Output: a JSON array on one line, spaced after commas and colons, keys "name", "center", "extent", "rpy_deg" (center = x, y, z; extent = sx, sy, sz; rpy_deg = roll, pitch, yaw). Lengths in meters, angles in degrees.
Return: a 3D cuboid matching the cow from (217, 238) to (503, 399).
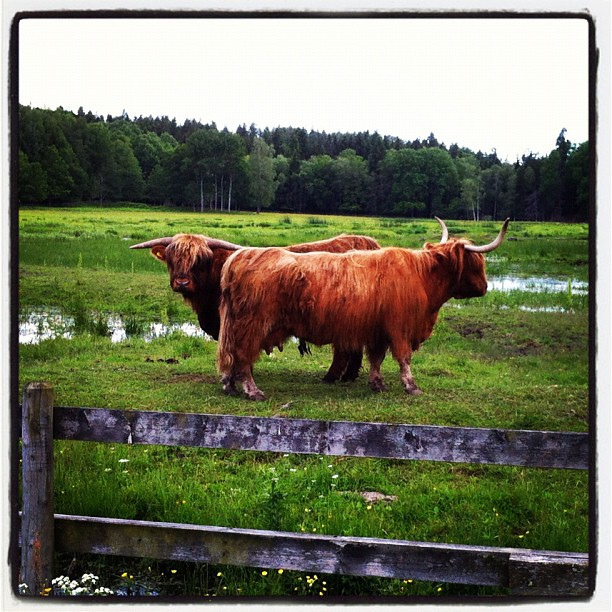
[{"name": "cow", "center": [1.031, 0.148, 13.314], "extent": [2.441, 2.029, 5.150], "rpy_deg": [1, -3, 28]}]
